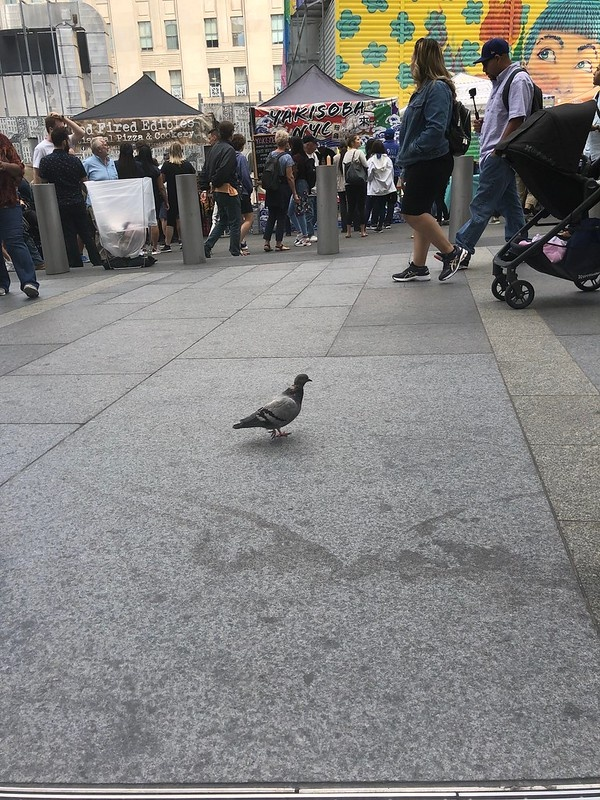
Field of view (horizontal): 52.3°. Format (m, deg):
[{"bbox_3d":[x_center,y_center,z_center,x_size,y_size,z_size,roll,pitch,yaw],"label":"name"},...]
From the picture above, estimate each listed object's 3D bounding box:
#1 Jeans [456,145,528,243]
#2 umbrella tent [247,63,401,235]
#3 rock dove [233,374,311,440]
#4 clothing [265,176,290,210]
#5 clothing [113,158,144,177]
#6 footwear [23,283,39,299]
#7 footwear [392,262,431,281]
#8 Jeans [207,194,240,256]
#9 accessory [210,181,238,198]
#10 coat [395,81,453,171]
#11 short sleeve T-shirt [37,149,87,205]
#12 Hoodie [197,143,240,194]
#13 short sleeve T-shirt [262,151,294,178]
[{"bbox_3d":[2.190,-2.153,6.785,0.836,0.371,1.390,5,64,16],"label":"Jeans"},{"bbox_3d":[0.523,-7.554,17.596,4.254,3.735,4.466,0,13,11],"label":"umbrella tent"},{"bbox_3d":[-0.122,0.030,2.891,0.390,0.301,0.154,-5,18,-17],"label":"rock dove"},{"bbox_3d":[-0.442,-4.002,11.782,0.562,0.780,0.398,1,17,-4],"label":"clothing"},{"bbox_3d":[-3.401,-4.608,12.172,0.561,0.461,0.325,-4,44,-6],"label":"clothing"},{"bbox_3d":[-3.580,-1.435,8.140,0.117,0.121,0.280,-16,-14,-17],"label":"footwear"},{"bbox_3d":[1.299,-1.479,7.214,0.458,0.255,0.185,2,38,1],"label":"footwear"},{"bbox_3d":[-1.410,-3.379,11.309,0.689,1.424,0.500,5,37,2],"label":"Jeans"},{"bbox_3d":[-1.314,-3.704,10.849,0.224,0.206,0.271,16,41,28],"label":"accessory"},{"bbox_3d":[1.318,-2.964,6.531,0.436,0.803,0.722,-8,20,-12],"label":"coat"},{"bbox_3d":[-4.311,-4.047,11.122,0.846,1.012,0.583,-9,41,-17],"label":"short sleeve T-shirt"},{"bbox_3d":[-1.370,-4.007,10.966,0.508,0.897,0.896,-4,-3,27],"label":"Hoodie"},{"bbox_3d":[-0.383,-4.582,11.840,0.596,0.619,0.441,6,6,17],"label":"short sleeve T-shirt"}]
